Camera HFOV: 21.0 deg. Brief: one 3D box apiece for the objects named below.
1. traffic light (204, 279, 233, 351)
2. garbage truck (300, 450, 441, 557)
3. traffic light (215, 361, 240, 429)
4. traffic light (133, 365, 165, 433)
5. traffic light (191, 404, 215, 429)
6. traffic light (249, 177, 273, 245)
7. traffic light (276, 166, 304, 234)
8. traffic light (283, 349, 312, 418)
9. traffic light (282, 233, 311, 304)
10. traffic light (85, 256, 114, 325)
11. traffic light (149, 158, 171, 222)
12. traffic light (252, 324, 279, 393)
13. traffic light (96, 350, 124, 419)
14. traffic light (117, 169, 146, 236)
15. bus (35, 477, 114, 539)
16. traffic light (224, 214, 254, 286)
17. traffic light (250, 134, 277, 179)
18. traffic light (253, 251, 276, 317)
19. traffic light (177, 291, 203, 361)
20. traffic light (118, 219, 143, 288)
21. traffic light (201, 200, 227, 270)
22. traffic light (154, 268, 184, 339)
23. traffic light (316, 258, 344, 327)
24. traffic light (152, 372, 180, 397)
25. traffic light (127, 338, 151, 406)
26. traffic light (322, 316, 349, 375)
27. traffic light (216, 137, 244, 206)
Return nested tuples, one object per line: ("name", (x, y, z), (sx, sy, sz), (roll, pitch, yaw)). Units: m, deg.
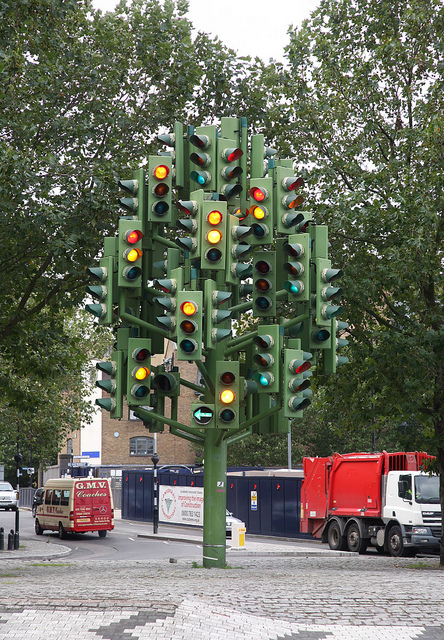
("traffic light", (-0.018, -0.040, 16.522), (0.400, 0.887, 0.313), (1, -1, 18))
("garbage truck", (3.629, 4.572, 29.916), (1.924, 2.624, 7.502), (3, -11, -12))
("traffic light", (0.071, 1.045, 16.841), (0.324, 0.929, 0.371), (1, -10, -3))
("traffic light", (-1.083, 1.283, 18.502), (0.308, 1.118, 0.487), (7, -11, -36))
("traffic light", (-0.307, 1.367, 17.012), (0.245, 0.337, 0.463), (9, -14, -42))
("traffic light", (0.579, -1.620, 17.548), (0.333, 1.023, 0.420), (0, -10, 1))
("traffic light", (1.013, -1.858, 17.964), (0.379, 1.179, 0.879), (1, -10, -4))
("traffic light", (1.036, 0.866, 16.347), (0.350, 0.933, 0.286), (0, 1, -42))
("traffic light", (1.077, -0.753, 17.406), (0.314, 1.081, 0.256), (1, -5, -12))
("traffic light", (-1.766, -0.423, 17.336), (0.326, 0.977, 0.333), (2, -3, -39))
("traffic light", (-0.917, -1.924, 17.621), (0.298, 0.881, 0.325), (1, -10, -3))
("traffic light", (0.605, 0.535, 16.424), (0.320, 0.936, 0.328), (0, 1, 31))
("traffic light", (-1.614, 0.939, 17.060), (0.441, 0.925, 0.311), (0, 0, -22))
("traffic light", (-1.344, -1.711, 18.022), (0.498, 1.004, 0.362), (2, -13, -1))
("bus", (-4.234, 5.470, 35.271), (1.393, 1.417, 2.604), (4, -9, -28))
("traffic light", (0.223, -0.970, 16.867), (0.442, 0.936, 0.297), (2, 4, 13))
("traffic light", (0.657, -2.612, 19.145), (0.390, 0.846, 0.496), (0, -10, 1))
("traffic light", (0.611, -0.533, 17.512), (0.327, 0.951, 0.281), (1, 4, 14))
("traffic light", (-0.433, 0.055, 16.019), (0.316, 0.903, 0.193), (1, -9, -7))
("traffic light", (-1.299, -0.954, 17.031), (0.212, 1.020, 0.288), (-3, -2, 42))
("traffic light", (-0.099, -1.155, 16.770), (0.327, 0.948, 0.312), (1, 2, 8))
("traffic light", (-0.694, -0.201, 16.360), (0.373, 1.028, 0.338), (-3, -12, 18))
("traffic light", (1.581, -0.396, 17.631), (0.309, 0.994, 0.351), (-3, -6, 39))
("traffic light", (-0.784, 0.934, 17.458), (0.460, 0.455, 0.329), (1, -2, 15))
("traffic light", (-1.164, 0.715, 16.872), (0.374, 0.950, 0.319), (4, -10, -21))
("traffic light", (1.740, 0.458, 18.393), (0.218, 1.001, 0.289), (1, -4, -26))
("traffic light", (0.108, -2.349, 18.291), (0.389, 1.076, 0.806), (1, -10, -2))
